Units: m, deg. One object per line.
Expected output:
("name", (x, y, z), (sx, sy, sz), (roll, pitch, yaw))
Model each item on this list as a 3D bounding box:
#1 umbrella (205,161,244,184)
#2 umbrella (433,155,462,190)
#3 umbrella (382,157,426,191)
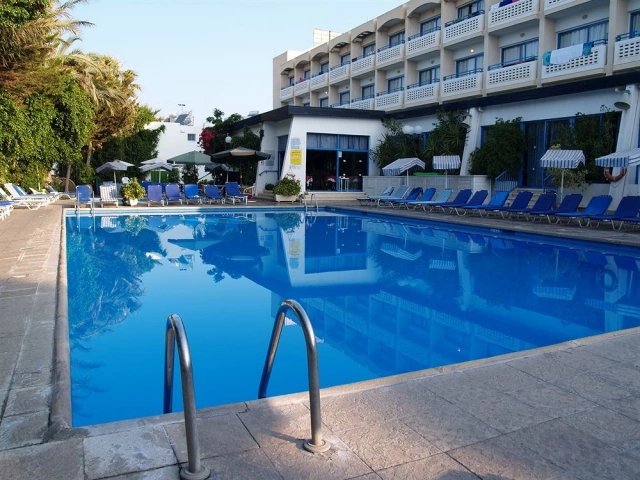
("umbrella", (-6.746, -5.114, 31.452), (1.785, 2.082, 2.096), (-2, 10, -32))
("umbrella", (6.216, -3.005, 21.118), (1.365, 2.035, 1.354), (0, -3, 44))
("umbrella", (4.476, -3.251, 22.894), (1.744, 2.563, 2.116), (-3, 9, -19))
